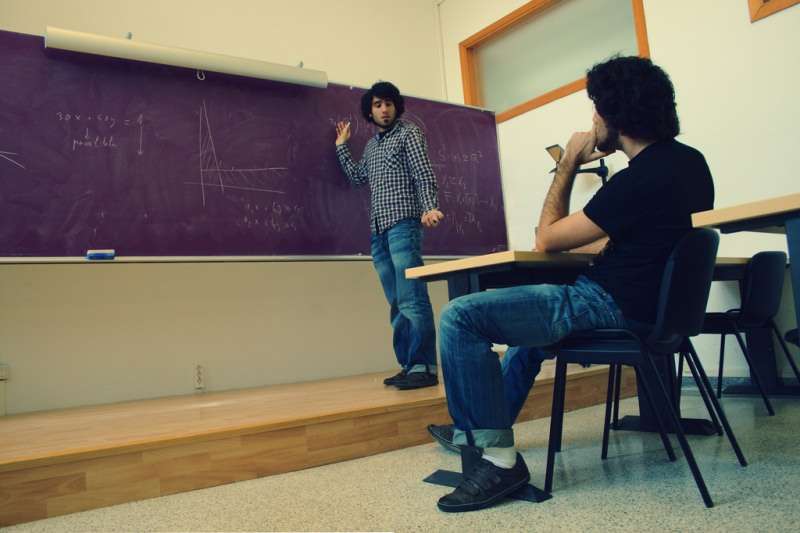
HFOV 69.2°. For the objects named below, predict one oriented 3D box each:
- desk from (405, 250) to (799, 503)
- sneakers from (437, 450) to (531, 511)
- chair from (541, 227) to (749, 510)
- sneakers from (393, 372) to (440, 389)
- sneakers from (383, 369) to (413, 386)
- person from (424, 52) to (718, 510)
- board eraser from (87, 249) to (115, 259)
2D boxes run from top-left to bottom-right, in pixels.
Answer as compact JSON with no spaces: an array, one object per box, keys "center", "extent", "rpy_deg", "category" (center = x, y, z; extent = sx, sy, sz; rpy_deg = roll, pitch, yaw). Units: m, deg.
[{"center":[0.902,0.371,2.737],"extent":[1.147,0.896,1.213],"rpy_deg":[-6,-8,36],"category":"desk"},{"center":[0.361,0.921,2.553],"extent":[0.450,0.178,0.164],"rpy_deg":[-16,-4,-22],"category":"sneakers"},{"center":[1.133,0.409,2.664],"extent":[0.725,1.011,0.685],"rpy_deg":[7,-6,-43],"category":"chair"},{"center":[0.099,0.697,3.630],"extent":[0.285,0.115,0.101],"rpy_deg":[4,-9,-27],"category":"sneakers"},{"center":[-0.024,0.698,3.681],"extent":[0.198,0.087,0.077],"rpy_deg":[-4,-5,8],"category":"sneakers"},{"center":[0.728,0.040,2.576],"extent":[1.228,1.828,0.438],"rpy_deg":[-5,10,-9],"category":"person"},{"center":[-1.796,-0.065,3.500],"extent":[0.157,0.065,0.063],"rpy_deg":[-9,12,-27],"category":"board eraser"}]
